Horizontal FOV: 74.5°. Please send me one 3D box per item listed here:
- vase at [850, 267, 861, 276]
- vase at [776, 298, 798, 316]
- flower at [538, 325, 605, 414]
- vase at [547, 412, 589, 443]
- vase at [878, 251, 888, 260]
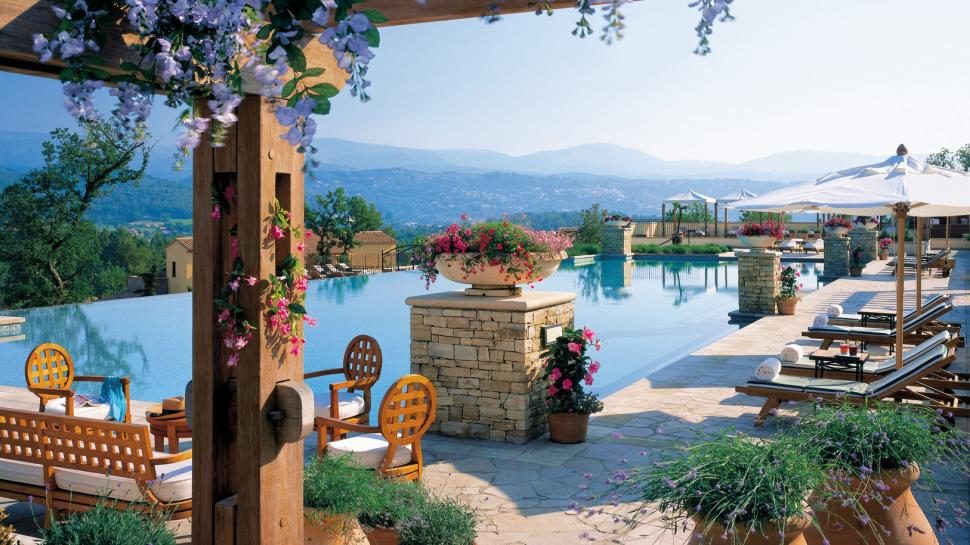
[{"bbox_3d":[12.812,-0.031,21.981,0.329,0.191,0.315,0,-6,1],"label":"vase"},{"bbox_3d":[6.924,0.779,14.631,0.441,0.301,0.423,0,-6,2],"label":"vase"},{"bbox_3d":[1.040,1.084,7.626,0.937,1.384,0.975,0,3,9],"label":"flower"},{"bbox_3d":[0.916,1.656,7.006,0.370,0.225,0.379,-2,-2,30],"label":"vase"},{"bbox_3d":[17.661,-0.774,28.361,0.392,0.231,0.381,3,-6,-41],"label":"vase"}]
